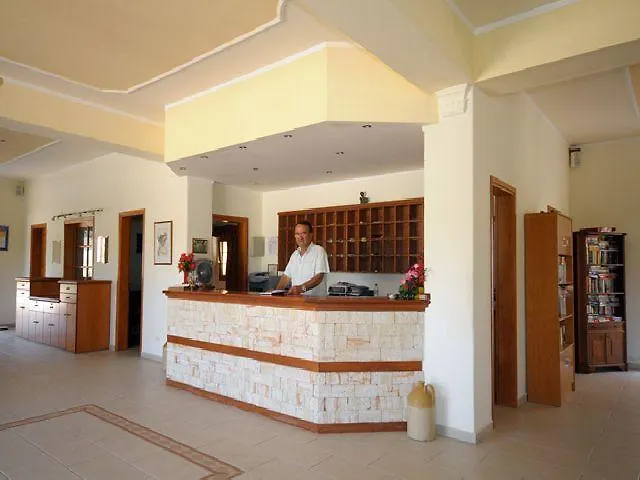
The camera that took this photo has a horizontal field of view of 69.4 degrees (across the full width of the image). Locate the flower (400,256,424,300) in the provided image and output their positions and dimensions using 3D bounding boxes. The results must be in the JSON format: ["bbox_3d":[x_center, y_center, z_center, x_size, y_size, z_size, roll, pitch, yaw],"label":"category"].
[{"bbox_3d":[1.082,0.455,5.418,0.283,0.441,0.264,1,3,11],"label":"flower"}]

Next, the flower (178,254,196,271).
[{"bbox_3d":[-2.040,0.362,7.155,0.244,0.277,0.249,2,-6,-16],"label":"flower"}]

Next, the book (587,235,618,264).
[{"bbox_3d":[4.753,0.197,7.914,0.585,0.600,0.431,0,-1,-27],"label":"book"}]

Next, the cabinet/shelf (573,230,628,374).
[{"bbox_3d":[4.687,1.001,7.763,0.855,2.382,0.396,0,3,-12],"label":"cabinet/shelf"}]

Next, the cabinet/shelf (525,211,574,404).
[{"bbox_3d":[3.162,0.893,6.383,0.628,2.554,0.907,2,3,30],"label":"cabinet/shelf"}]

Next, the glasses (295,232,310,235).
[{"bbox_3d":[-0.208,-0.086,6.078,0.189,0.059,0.113,0,3,-10],"label":"glasses"}]

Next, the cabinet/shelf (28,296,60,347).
[{"bbox_3d":[-5.565,1.678,9.404,0.884,0.820,0.350,-5,-8,42],"label":"cabinet/shelf"}]

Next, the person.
[{"bbox_3d":[-0.218,0.243,6.138,0.594,0.970,0.716,-1,3,-28],"label":"person"}]

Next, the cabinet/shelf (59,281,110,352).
[{"bbox_3d":[-4.454,1.451,8.834,0.904,1.374,0.524,0,3,-15],"label":"cabinet/shelf"}]

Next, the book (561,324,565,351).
[{"bbox_3d":[3.339,1.351,6.361,0.093,0.292,0.303,-1,0,26],"label":"book"}]

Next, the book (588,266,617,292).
[{"bbox_3d":[4.745,0.670,7.794,0.383,0.397,0.220,2,-6,-10],"label":"book"}]
